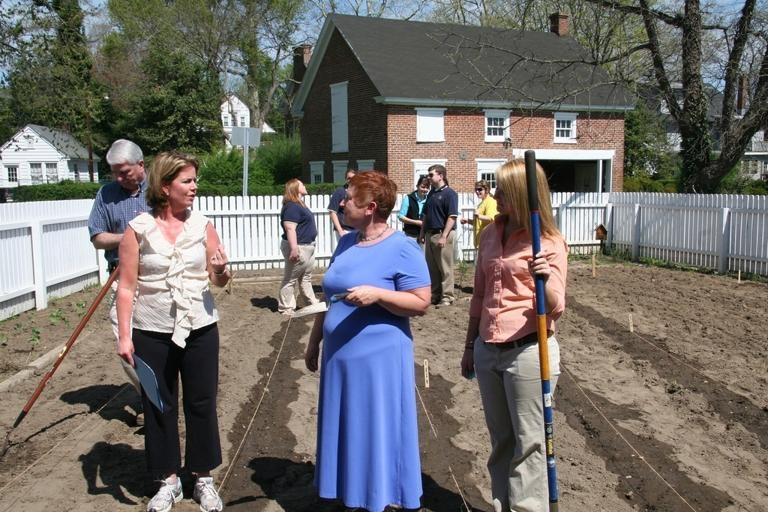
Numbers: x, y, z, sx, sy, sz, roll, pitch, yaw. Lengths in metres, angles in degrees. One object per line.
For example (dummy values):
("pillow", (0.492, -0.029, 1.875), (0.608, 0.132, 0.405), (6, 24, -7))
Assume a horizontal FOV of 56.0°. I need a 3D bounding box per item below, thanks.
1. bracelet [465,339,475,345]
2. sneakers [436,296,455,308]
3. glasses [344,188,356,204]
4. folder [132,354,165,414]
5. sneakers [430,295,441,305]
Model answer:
("bracelet", (0.926, 0.927, 7.792), (0.059, 0.098, 0.089), (-1, -6, -4))
("sneakers", (1.164, 0.886, 13.895), (0.400, 0.195, 0.146), (2, -7, -40))
("glasses", (-0.344, -0.616, 7.424), (0.119, 0.218, 0.144), (1, 3, 6))
("folder", (-2.482, 1.352, 7.608), (0.297, 0.626, 0.119), (3, 9, 15))
("sneakers", (0.994, 0.852, 13.980), (0.203, 0.302, 0.147), (0, 6, 7))
